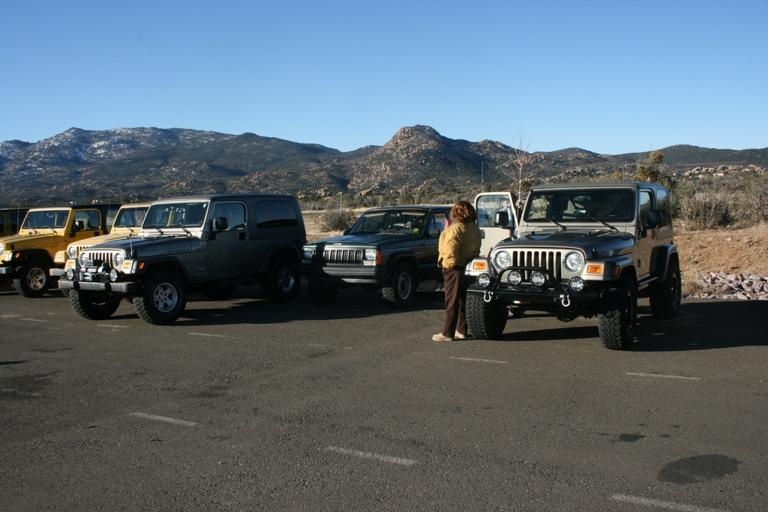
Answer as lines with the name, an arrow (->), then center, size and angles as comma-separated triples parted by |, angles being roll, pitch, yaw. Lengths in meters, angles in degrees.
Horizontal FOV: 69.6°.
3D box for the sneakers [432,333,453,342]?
sneakers -> 1.008, 1.406, 9.676 | 0.289, 0.115, 0.137 | 6, 0, 3
